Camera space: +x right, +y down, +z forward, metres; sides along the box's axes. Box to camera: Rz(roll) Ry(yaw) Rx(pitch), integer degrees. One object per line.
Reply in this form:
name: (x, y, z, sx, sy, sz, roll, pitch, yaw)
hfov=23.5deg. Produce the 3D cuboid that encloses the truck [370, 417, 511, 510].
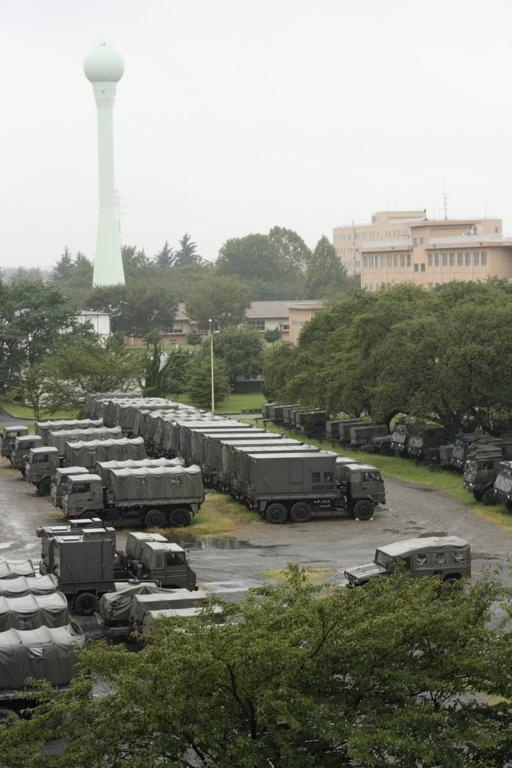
truck: (7.996, 3.751, 55.237, 4.483, 2.170, 3.110, 14, 1, -26)
